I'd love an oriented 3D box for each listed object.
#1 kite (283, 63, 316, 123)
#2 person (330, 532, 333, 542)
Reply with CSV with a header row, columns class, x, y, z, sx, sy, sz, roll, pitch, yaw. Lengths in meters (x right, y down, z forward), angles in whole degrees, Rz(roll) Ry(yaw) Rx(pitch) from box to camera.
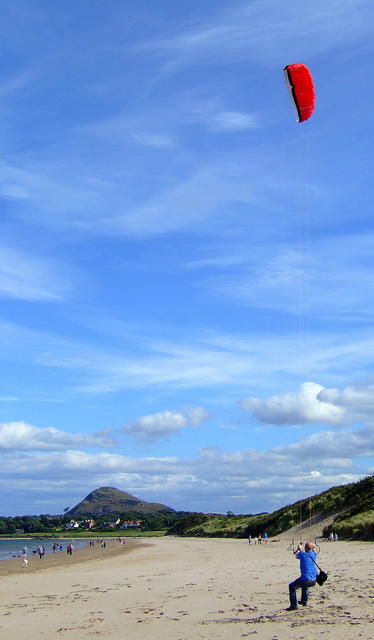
class,x,y,z,sx,sy,sz,roll,pitch,yaw
kite,5.183,-10.259,29.329,1.174,2.293,1.520,-6,-12,12
person,9.996,14.996,44.337,0.189,0.401,0.784,-5,-12,8
